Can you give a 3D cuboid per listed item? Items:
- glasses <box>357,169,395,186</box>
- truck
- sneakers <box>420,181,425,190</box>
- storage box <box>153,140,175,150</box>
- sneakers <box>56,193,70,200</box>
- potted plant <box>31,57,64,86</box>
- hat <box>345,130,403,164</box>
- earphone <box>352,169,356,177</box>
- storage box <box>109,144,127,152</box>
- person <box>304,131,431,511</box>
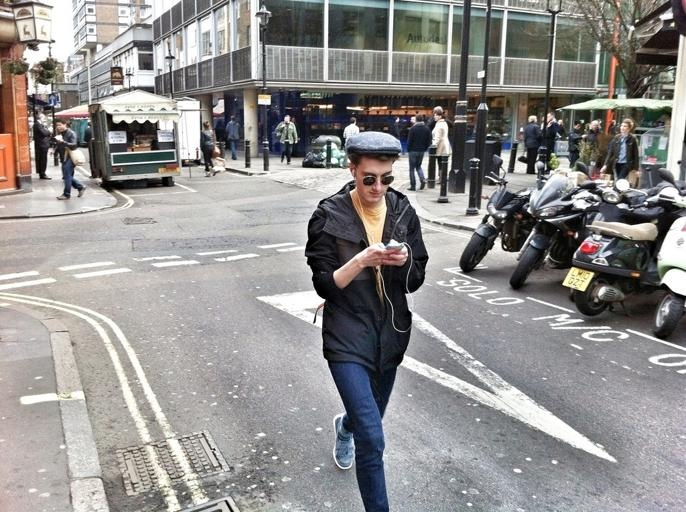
[{"bbox_3d":[0.225,-0.425,2.957,0.227,0.082,0.107,-8,16,-32],"label":"glasses"},{"bbox_3d":[-8.209,-4.509,20.636,3.001,3.613,2.599,-6,16,-26],"label":"truck"},{"bbox_3d":[2.866,-2.454,18.767,0.139,0.328,0.147,6,4,-7],"label":"sneakers"},{"bbox_3d":[-7.396,-4.417,21.397,0.709,0.205,0.440,1,4,0],"label":"storage box"},{"bbox_3d":[-8.986,-1.845,16.667,0.419,0.154,0.223,6,5,-8],"label":"sneakers"},{"bbox_3d":[-9.210,-5.637,16.187,0.820,0.777,1.118,-3,14,-15],"label":"potted plant"},{"bbox_3d":[0.173,-0.611,2.997,0.295,0.167,0.246,1,14,2],"label":"hat"},{"bbox_3d":[0.058,-0.471,3.029,0.034,0.034,0.042,0,-1,0],"label":"earphone"},{"bbox_3d":[-8.562,-4.000,19.790,0.664,0.298,0.398,2,1,-17],"label":"storage box"},{"bbox_3d":[0.100,0.340,2.999,0.707,2.022,0.834,3,14,9],"label":"person"}]
